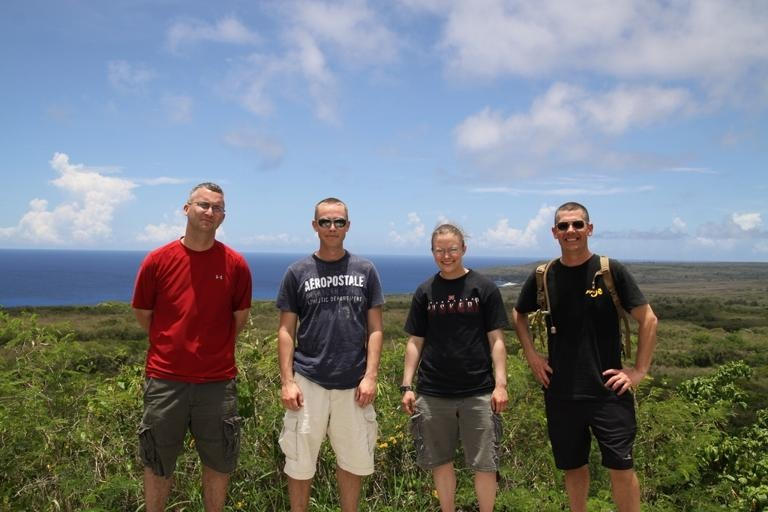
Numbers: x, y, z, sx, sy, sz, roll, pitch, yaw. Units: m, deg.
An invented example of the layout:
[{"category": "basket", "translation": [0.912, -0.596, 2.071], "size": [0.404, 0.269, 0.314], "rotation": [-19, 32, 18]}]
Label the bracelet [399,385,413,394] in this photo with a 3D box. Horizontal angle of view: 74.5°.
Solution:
[{"category": "bracelet", "translation": [0.280, 1.628, 6.198], "size": [0.126, 0.079, 0.143], "rotation": [-1, -2, 18]}]

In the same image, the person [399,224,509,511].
[{"category": "person", "translation": [0.848, 1.300, 6.066], "size": [1.223, 3.377, 0.507], "rotation": [0, 2, 13]}]
